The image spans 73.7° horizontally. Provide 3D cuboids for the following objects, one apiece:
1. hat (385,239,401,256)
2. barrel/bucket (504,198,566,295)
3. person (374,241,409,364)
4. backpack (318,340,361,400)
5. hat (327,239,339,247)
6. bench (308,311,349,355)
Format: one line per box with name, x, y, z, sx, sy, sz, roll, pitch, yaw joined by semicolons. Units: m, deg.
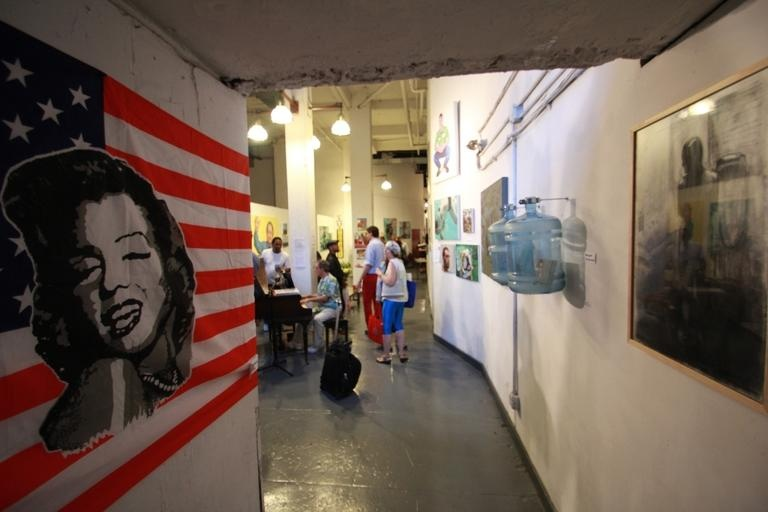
hat;0.112;-0.095;5.976;0.147;0.217;0.205;-4;-3;-8
barrel/bucket;0.905;-0.079;3.321;0.292;0.523;0.531;-4;13;-16
person;0.094;0.550;6.347;0.380;1.570;1.017;0;12;2
backpack;-0.447;1.115;5.134;0.394;0.527;0.385;-3;12;-11
hat;-0.874;-0.216;8.632;0.233;0.091;0.162;-24;17;-41
bench;-0.720;0.957;6.568;0.451;0.385;0.751;-2;12;-5
